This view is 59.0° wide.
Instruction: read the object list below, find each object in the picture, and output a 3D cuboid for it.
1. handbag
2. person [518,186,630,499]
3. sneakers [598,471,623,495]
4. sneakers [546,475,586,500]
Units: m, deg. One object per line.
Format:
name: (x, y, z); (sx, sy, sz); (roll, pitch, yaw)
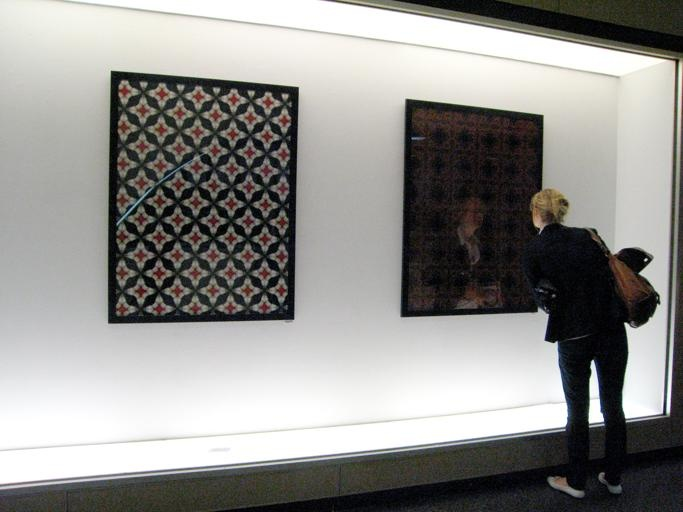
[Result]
handbag: (1.963, 0.109, 4.119); (0.374, 0.567, 0.557); (-6, 23, 47)
person: (1.567, 0.584, 4.006); (0.607, 1.904, 0.284); (-3, 0, 21)
sneakers: (1.831, 1.551, 4.132); (0.079, 0.081, 0.185); (-1, 2, -11)
sneakers: (1.501, 1.558, 4.073); (0.092, 0.075, 0.224); (-16, 22, -32)
